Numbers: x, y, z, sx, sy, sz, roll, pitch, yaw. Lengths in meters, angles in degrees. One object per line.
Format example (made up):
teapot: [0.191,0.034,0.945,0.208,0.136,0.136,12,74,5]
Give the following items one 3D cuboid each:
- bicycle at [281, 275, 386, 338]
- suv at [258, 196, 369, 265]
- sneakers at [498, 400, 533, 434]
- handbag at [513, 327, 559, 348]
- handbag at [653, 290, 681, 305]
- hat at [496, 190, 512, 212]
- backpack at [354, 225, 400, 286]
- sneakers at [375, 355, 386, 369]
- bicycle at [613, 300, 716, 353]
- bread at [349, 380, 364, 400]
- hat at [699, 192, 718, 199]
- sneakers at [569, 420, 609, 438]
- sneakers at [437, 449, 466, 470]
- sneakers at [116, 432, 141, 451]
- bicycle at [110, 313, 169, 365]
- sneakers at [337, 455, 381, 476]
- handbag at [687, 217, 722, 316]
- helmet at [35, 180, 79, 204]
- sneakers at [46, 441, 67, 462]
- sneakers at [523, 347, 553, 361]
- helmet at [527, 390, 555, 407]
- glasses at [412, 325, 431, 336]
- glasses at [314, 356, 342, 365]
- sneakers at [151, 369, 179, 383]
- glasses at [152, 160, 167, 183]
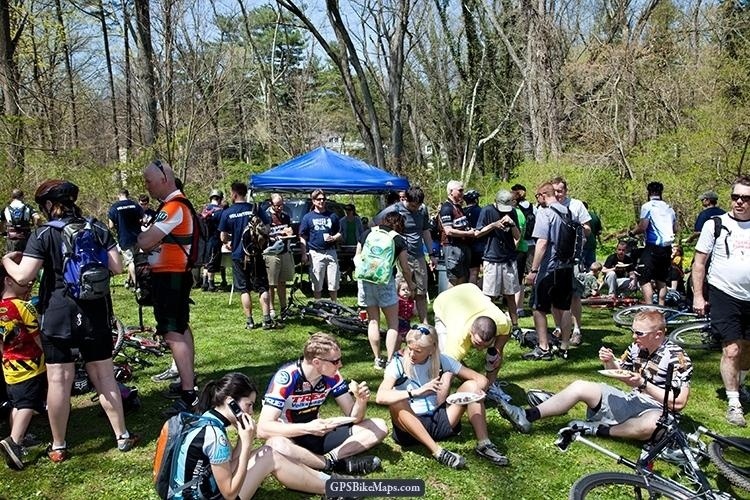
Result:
bicycle: [-0.859,1.093,12.331,0.966,0.946,1.539,-4,10,-22]
suv: [-1.118,-0.363,16.951,3.096,1.670,1.694,5,4,-12]
sneakers: [1.844,2.192,9.076,0.287,0.220,0.590,-19,33,-20]
handbag: [2.706,1.458,11.372,0.502,0.165,0.329,0,14,8]
handbag: [5.716,0.932,13.004,0.477,0.217,0.332,-4,10,-34]
hat: [2.243,-0.854,11.753,0.262,0.377,0.153,-3,-34,2]
backpack: [0.009,0.093,10.428,0.587,0.804,0.495,12,13,17]
sneakers: [0.078,1.727,10.488,0.160,0.167,0.374,-1,-9,5]
bicycle: [5.113,1.124,12.131,1.496,0.698,0.945,-5,18,44]
bread: [-0.245,1.708,8.428,0.244,0.271,0.133,6,9,-2]
hat: [6.386,-1.019,12.962,0.182,0.138,0.235,2,6,-17]
sneakers: [2.805,2.299,8.780,0.582,0.198,0.252,7,7,18]
sneakers: [0.950,2.596,8.527,0.399,0.155,0.184,10,-20,36]
sneakers: [-3.163,2.434,8.768,0.135,0.199,0.343,3,12,12]
bicycle: [-3.748,1.418,10.562,0.868,0.175,0.708,16,30,-13]
sneakers: [-0.170,2.666,8.488,0.606,0.207,0.258,-1,-13,1]
handbag: [4.529,0.277,9.562,0.299,1.127,0.650,7,12,36]
helmet: [-4.046,-0.744,8.613,0.432,0.240,0.333,-8,9,3]
sneakers: [-4.029,2.533,8.593,0.141,0.185,0.267,1,8,-27]
sneakers: [2.623,1.659,10.917,0.443,0.213,0.204,3,-3,5]
helmet: [2.238,1.984,9.117,0.351,0.163,0.158,1,10,6]
glasses: [0.566,0.997,8.580,0.278,0.101,0.177,0,3,42]
glasses: [-0.557,1.342,8.237,0.331,0.106,0.115,-3,2,-28]
sneakers: [-3.088,1.845,10.057,0.525,0.187,0.206,-4,-10,1]
glasses: [-2.969,-1.077,9.194,0.062,0.230,0.226,-19,0,-10]
